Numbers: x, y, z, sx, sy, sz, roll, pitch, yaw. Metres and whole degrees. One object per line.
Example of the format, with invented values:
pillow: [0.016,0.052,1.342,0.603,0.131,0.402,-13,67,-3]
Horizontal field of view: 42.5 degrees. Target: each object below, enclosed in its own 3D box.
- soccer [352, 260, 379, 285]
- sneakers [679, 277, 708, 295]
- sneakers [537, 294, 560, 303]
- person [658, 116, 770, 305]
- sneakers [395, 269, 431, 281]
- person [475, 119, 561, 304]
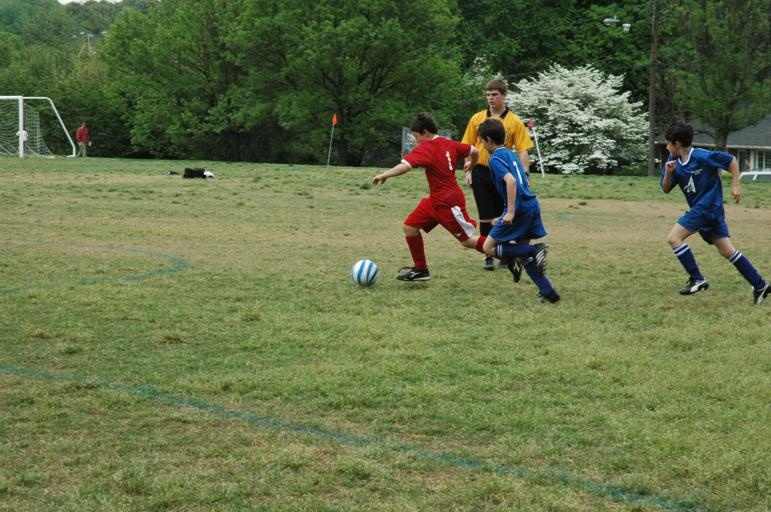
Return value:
soccer: [-0.226,0.247,13.103,0.379,0.310,0.333,4,-21,13]
sneakers: [3.835,0.400,12.441,0.331,0.251,0.375,0,6,13]
sneakers: [2.020,0.530,12.346,0.316,0.111,0.096,4,0,5]
person: [4.051,-0.550,12.367,1.200,2.225,0.654,0,7,12]
sneakers: [0.318,0.255,13.428,0.556,0.189,0.165,0,8,-2]
person: [1.637,-0.574,12.410,0.766,2.314,0.673,-3,7,-11]
